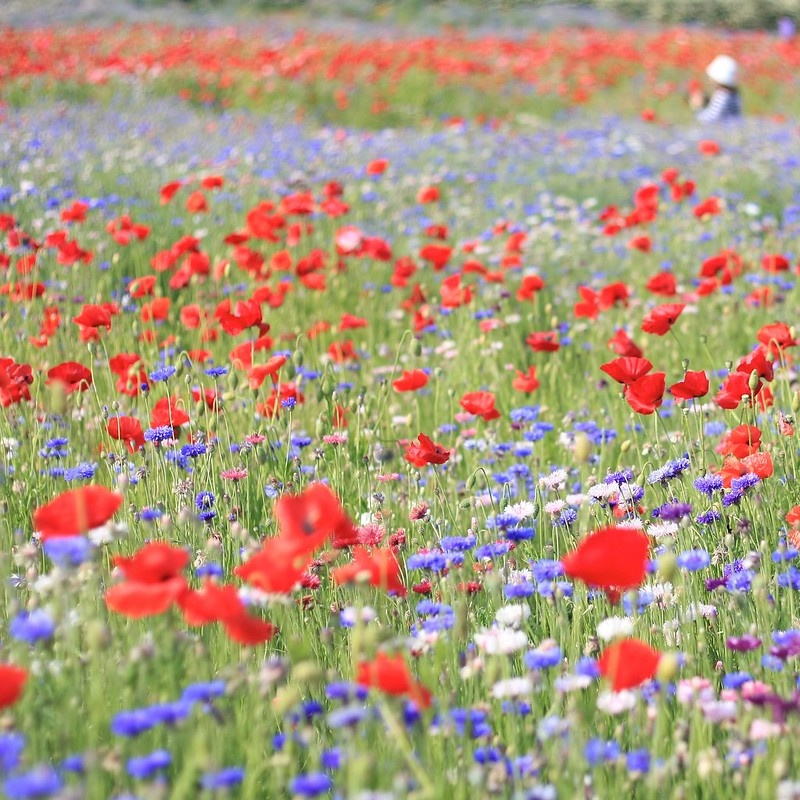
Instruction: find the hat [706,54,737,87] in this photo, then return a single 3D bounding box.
[{"bbox_3d":[1.743,-1.757,7.437,0.147,0.124,0.175,8,51,-26],"label":"hat"}]
